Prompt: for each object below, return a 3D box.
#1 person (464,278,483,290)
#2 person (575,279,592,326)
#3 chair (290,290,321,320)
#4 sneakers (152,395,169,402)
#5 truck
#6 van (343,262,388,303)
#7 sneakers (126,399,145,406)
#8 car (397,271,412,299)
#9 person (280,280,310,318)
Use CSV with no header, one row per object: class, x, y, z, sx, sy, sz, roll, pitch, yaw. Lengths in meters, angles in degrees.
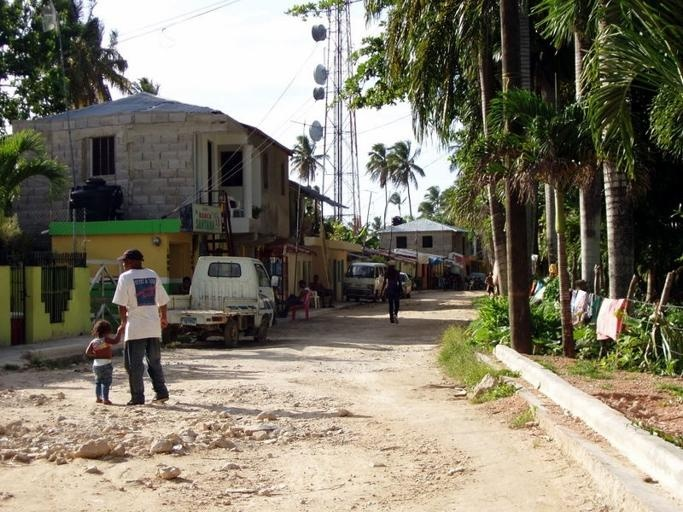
person,12.420,2.680,75.225,0.689,1.527,2.605,-1,-4,23
person,4.503,0.858,14.880,0.371,0.790,1.290,-1,-2,16
chair,-1.524,1.959,31.855,0.999,1.845,0.960,1,-2,2
sneakers,-2.686,2.101,11.777,0.216,0.118,0.095,1,-3,14
truck,-2.990,1.154,20.312,1.566,1.628,2.939,0,1,15
van,1.370,1.357,42.816,1.729,2.307,3.504,4,2,20
sneakers,-3.019,2.126,11.610,0.272,0.061,0.140,-2,-2,12
car,3.752,1.761,47.595,0.752,0.836,2.172,2,11,11
person,-1.793,1.729,31.069,0.922,1.676,0.631,5,-10,3
